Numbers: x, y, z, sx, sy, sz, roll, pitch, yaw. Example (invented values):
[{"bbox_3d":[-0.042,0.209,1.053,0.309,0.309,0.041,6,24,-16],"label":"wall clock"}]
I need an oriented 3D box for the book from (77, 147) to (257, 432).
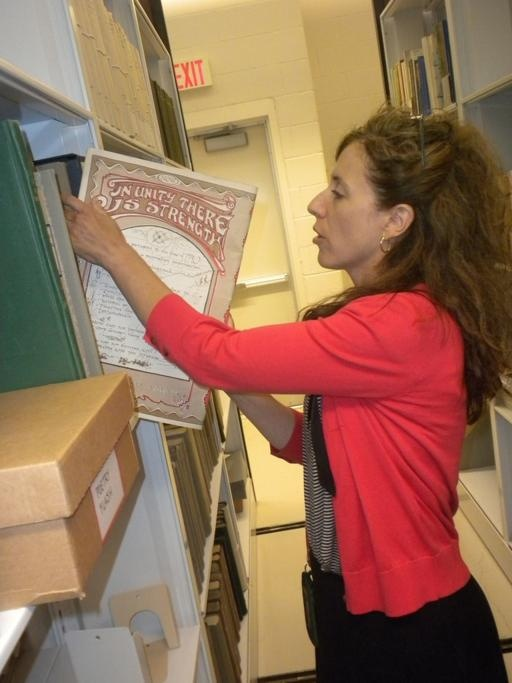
[{"bbox_3d":[-0.179,-0.115,0.955,0.298,0.413,0.097,13,47,1],"label":"book"}]
